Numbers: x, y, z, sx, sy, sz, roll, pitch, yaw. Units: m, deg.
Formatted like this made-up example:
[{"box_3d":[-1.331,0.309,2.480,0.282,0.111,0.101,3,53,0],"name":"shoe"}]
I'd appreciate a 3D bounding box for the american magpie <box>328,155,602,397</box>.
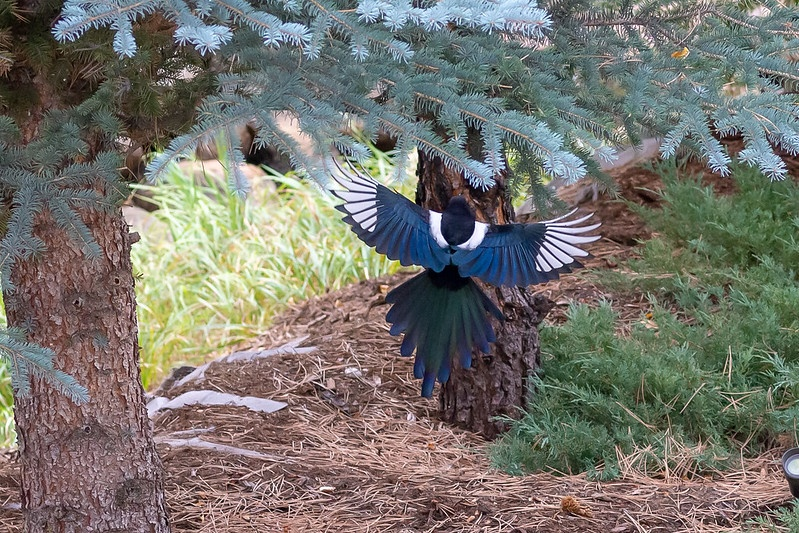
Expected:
[{"box_3d":[0.304,0.063,6.634,1.479,1.123,0.807,12,-7,3],"name":"american magpie"}]
